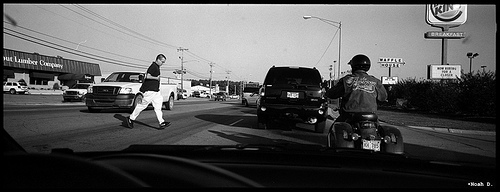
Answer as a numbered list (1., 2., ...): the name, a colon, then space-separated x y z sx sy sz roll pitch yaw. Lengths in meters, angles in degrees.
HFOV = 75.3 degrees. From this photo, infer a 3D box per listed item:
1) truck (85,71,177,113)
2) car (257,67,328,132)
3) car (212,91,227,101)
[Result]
1. truck: -10.431 -0.481 29.950 4.828 2.556 8.847 4 2 11
2. car: 3.015 0.243 22.524 4.607 4.438 1.510 3 11 5
3. car: -6.084 0.023 65.239 2.391 1.237 3.015 0 -2 -5
